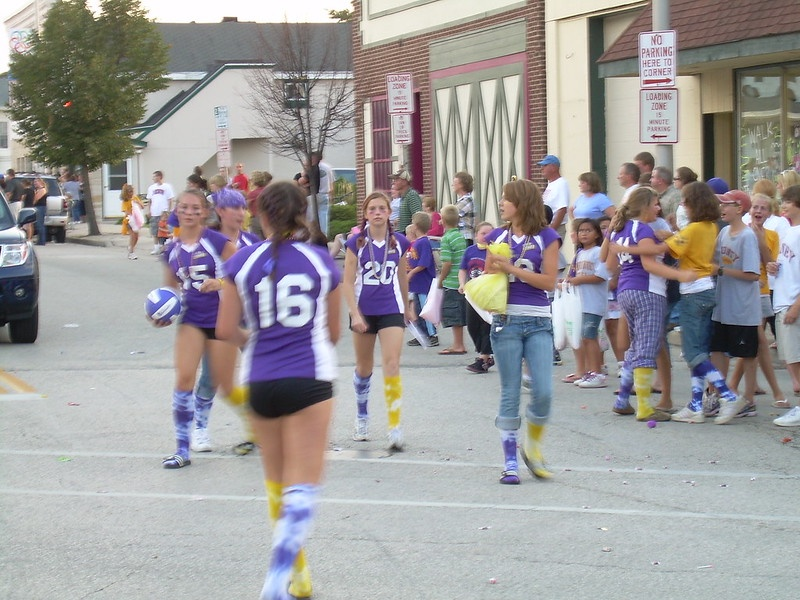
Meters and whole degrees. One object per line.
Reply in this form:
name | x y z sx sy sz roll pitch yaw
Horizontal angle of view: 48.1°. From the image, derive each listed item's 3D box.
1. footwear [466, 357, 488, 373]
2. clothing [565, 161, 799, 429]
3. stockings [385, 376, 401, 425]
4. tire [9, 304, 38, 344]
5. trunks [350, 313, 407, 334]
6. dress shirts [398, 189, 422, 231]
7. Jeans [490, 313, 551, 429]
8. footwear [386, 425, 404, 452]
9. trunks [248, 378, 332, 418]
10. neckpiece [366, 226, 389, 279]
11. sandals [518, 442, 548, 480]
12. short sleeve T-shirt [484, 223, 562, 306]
footwear | 0.969 0.811 11.090 0.139 0.109 0.277 0 -3 41
clothing | 3.103 -0.187 9.942 2.359 3.285 1.594 2 1 17
stockings | -0.057 0.883 7.721 0.123 0.454 0.163 -1 7 -6
tire | -5.419 0.306 12.796 0.238 0.558 0.591 -2 4 -4
trunks | -0.142 0.189 7.827 0.214 0.098 0.345 -2 -3 -39
dress shirts | 0.142 -1.583 15.809 0.357 0.780 0.929 -3 3 -21
Jeans | 0.914 0.545 6.684 0.457 0.866 0.295 1 7 7
footwear | -0.030 1.176 7.718 0.138 0.199 0.219 0 7 -1
trunks | -0.606 0.483 4.493 0.451 0.174 0.306 -4 -15 -4
neckpiece | -0.199 -0.387 7.811 0.199 0.459 0.106 0 7 5
sandals | 1.039 1.252 6.878 0.151 0.335 0.124 -39 -11 1
short sleeve T-shirt | 1.011 -0.224 6.881 0.637 0.597 0.346 -2 -2 44
